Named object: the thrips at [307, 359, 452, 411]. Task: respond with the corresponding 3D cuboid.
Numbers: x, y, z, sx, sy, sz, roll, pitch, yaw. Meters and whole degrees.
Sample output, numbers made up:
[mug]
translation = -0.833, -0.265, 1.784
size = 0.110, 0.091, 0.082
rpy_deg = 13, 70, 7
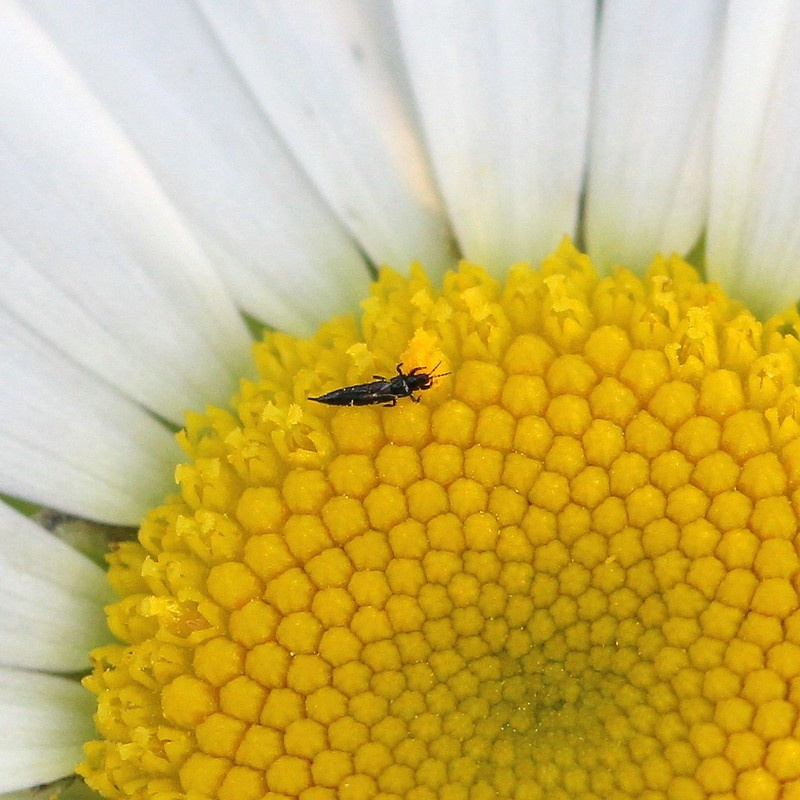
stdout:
[thrips]
translation = -0.044, -0.025, 2.451
size = 0.381, 0.072, 0.106
rpy_deg = -10, 86, 9
